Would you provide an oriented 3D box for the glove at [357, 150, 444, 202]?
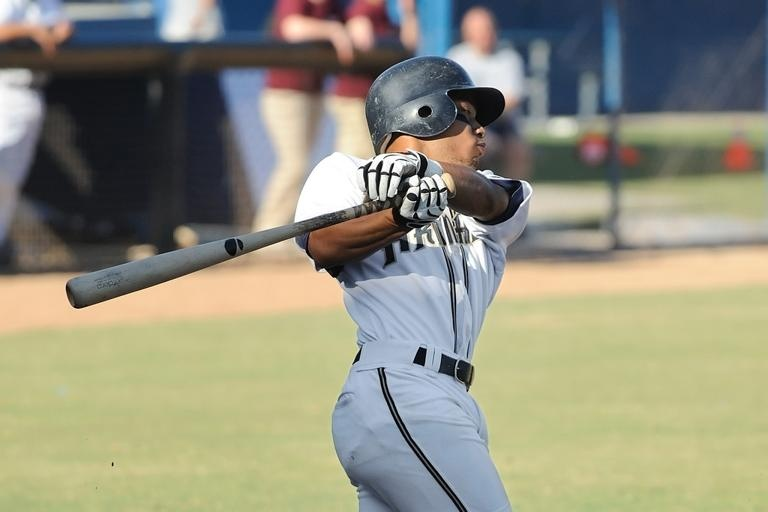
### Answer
[{"bbox_3d":[0.112,-0.491,9.942,0.446,0.239,0.586,1,-8,35],"label":"glove"}]
